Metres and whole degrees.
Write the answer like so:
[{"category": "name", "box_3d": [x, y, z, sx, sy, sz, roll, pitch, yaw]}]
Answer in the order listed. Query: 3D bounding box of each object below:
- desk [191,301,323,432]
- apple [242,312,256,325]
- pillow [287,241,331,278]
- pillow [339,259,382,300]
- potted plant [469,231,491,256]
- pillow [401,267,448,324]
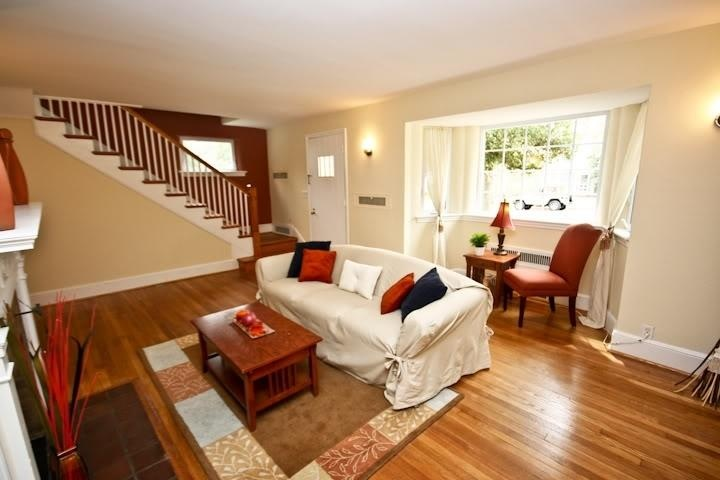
[{"category": "desk", "box_3d": [-0.995, 0.869, 4.488, 1.012, 0.798, 1.600, -10, 17, -38]}, {"category": "apple", "box_3d": [-1.152, 0.808, 4.590, 0.100, 0.108, 0.111, 5, 8, 40]}, {"category": "pillow", "box_3d": [-0.745, 0.187, 5.851, 0.504, 0.490, 0.205, 5, -26, 6]}, {"category": "pillow", "box_3d": [0.016, 0.465, 5.398, 0.474, 0.409, 0.118, 11, -14, 47]}, {"category": "potted plant", "box_3d": [1.625, 0.053, 6.150, 0.313, 0.307, 0.294, 0, 0, -34]}, {"category": "pillow", "box_3d": [0.625, 0.555, 4.855, 0.424, 0.646, 0.719, 4, 8, -7]}]
